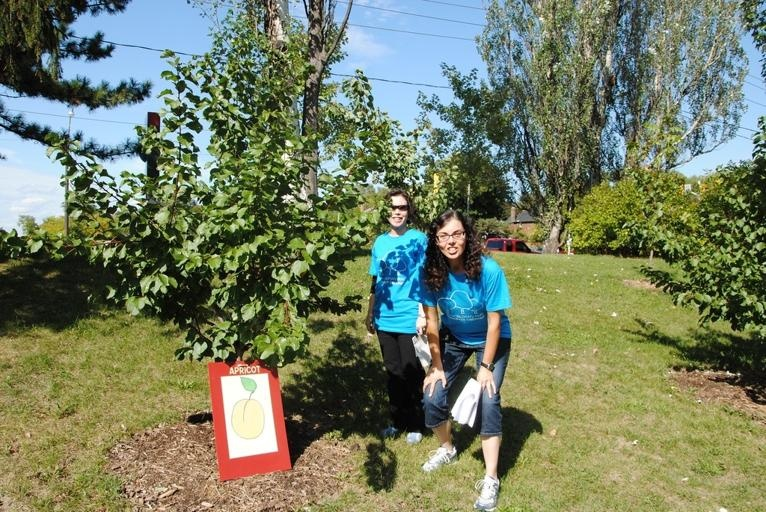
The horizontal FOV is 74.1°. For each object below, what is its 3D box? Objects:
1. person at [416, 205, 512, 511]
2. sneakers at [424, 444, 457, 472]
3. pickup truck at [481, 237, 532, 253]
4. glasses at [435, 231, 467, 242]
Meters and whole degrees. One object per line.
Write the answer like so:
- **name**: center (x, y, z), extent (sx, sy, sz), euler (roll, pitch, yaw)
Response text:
- **person**: center (1.069, 1.339, 6.800), extent (1.256, 3.867, 0.687), euler (5, 10, 16)
- **sneakers**: center (0.791, 2.862, 7.258), extent (0.549, 0.250, 0.227), euler (-13, 5, -28)
- **pickup truck**: center (8.071, -0.760, 33.242), extent (2.496, 1.419, 1.527), euler (-4, 7, -3)
- **glasses**: center (0.879, -0.258, 6.550), extent (0.358, 0.152, 0.065), euler (4, 9, 2)
